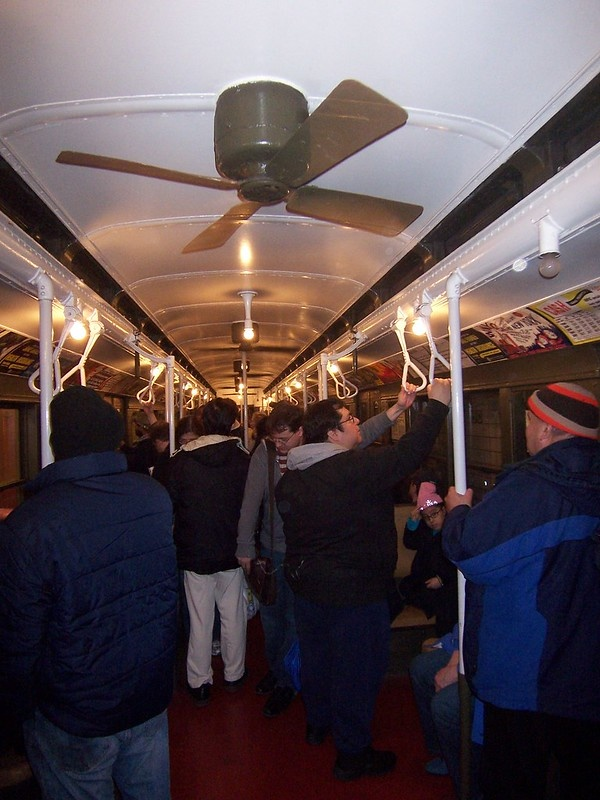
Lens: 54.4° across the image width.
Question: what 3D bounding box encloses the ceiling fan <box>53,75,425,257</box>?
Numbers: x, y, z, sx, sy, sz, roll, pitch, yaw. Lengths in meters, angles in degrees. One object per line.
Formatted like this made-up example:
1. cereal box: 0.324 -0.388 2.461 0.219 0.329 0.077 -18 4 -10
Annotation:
1. ceiling fan: -0.035 -0.741 1.781 0.659 0.166 0.640 9 -19 -34
